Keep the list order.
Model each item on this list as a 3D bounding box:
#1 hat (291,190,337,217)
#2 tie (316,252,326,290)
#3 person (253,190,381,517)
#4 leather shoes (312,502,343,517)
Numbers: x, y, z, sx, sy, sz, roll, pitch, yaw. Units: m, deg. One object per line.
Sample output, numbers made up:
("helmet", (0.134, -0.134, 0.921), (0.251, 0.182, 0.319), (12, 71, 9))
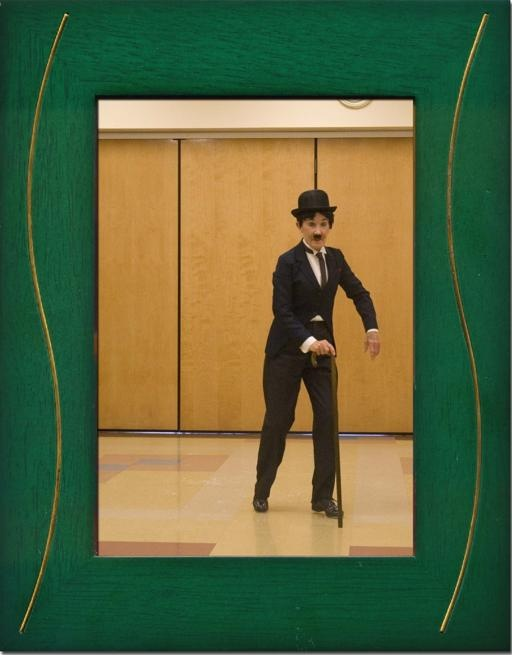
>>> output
("hat", (0.237, -0.536, 3.033), (0.188, 0.119, 0.136), (0, 4, 29))
("tie", (0.284, -0.255, 3.083), (0.024, 0.128, 0.083), (-5, 17, 4))
("person", (0.247, 0.135, 3.179), (0.791, 1.455, 0.339), (1, 4, 43))
("leather shoes", (0.314, 0.797, 3.118), (0.050, 0.075, 0.140), (5, -9, -36))
